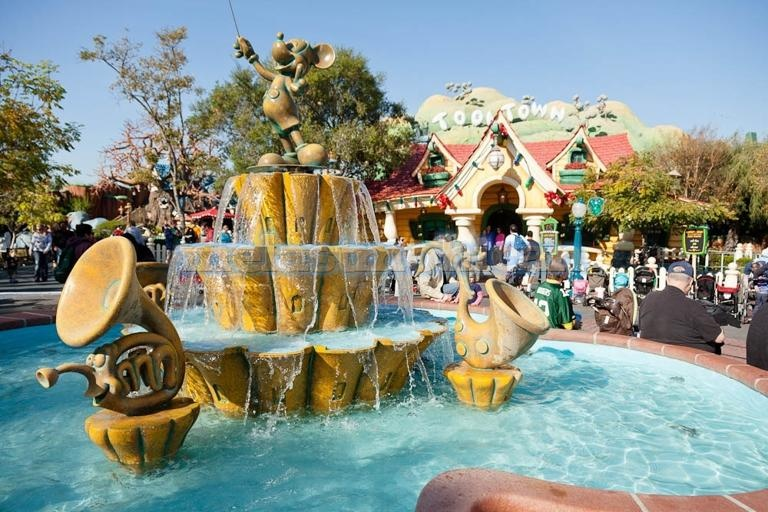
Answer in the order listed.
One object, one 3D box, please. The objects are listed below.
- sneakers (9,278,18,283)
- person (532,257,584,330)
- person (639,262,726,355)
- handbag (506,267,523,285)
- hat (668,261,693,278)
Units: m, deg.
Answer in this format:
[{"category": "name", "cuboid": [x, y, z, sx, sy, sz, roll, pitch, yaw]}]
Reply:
[{"category": "sneakers", "cuboid": [-12.039, 0.779, 16.915, 0.151, 0.083, 0.201, 2, -1, -8]}, {"category": "person", "cuboid": [3.589, 0.769, 10.755, 0.712, 1.315, 0.875, -28, 37, -30]}, {"category": "person", "cuboid": [5.133, 0.898, 8.969, 0.969, 1.351, 0.936, 19, 48, 39]}, {"category": "handbag", "cuboid": [3.740, 0.562, 14.892, 0.438, 0.469, 0.347, 5, 11, 35]}, {"category": "hat", "cuboid": [4.329, 0.185, 7.598, 0.288, 0.214, 0.480, 7, 15, 27]}]
